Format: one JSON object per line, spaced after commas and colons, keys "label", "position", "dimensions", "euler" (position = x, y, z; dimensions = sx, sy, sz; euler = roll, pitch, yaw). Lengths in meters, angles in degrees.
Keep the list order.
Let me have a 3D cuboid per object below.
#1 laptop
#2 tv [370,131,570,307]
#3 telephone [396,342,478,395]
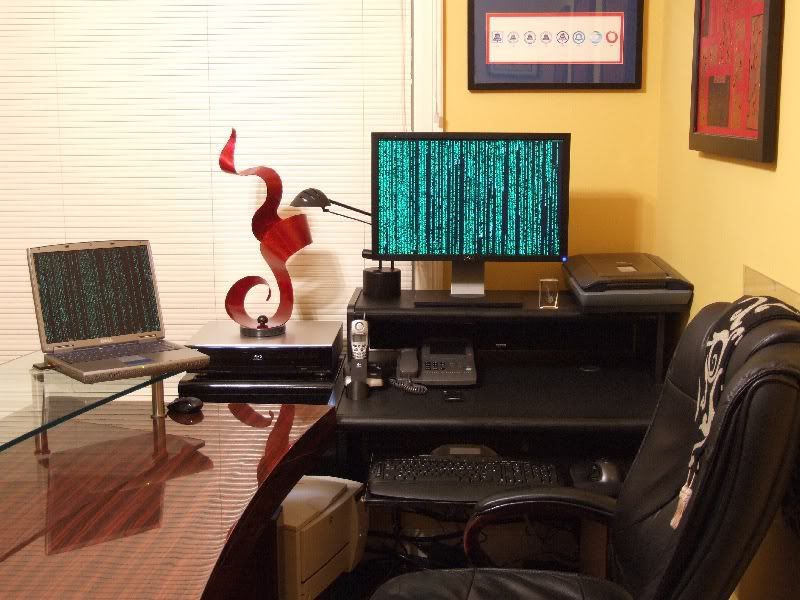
{"label": "laptop", "position": [-0.857, -0.015, 2.113], "dimensions": [0.497, 0.366, 0.450], "euler": [10, 13, 41]}
{"label": "tv", "position": [0.254, -0.308, 2.509], "dimensions": [0.824, 0.576, 0.175], "euler": [0, 5, 1]}
{"label": "telephone", "position": [0.139, 0.218, 2.513], "dimensions": [0.299, 0.081, 0.255], "euler": [0, 23, 10]}
